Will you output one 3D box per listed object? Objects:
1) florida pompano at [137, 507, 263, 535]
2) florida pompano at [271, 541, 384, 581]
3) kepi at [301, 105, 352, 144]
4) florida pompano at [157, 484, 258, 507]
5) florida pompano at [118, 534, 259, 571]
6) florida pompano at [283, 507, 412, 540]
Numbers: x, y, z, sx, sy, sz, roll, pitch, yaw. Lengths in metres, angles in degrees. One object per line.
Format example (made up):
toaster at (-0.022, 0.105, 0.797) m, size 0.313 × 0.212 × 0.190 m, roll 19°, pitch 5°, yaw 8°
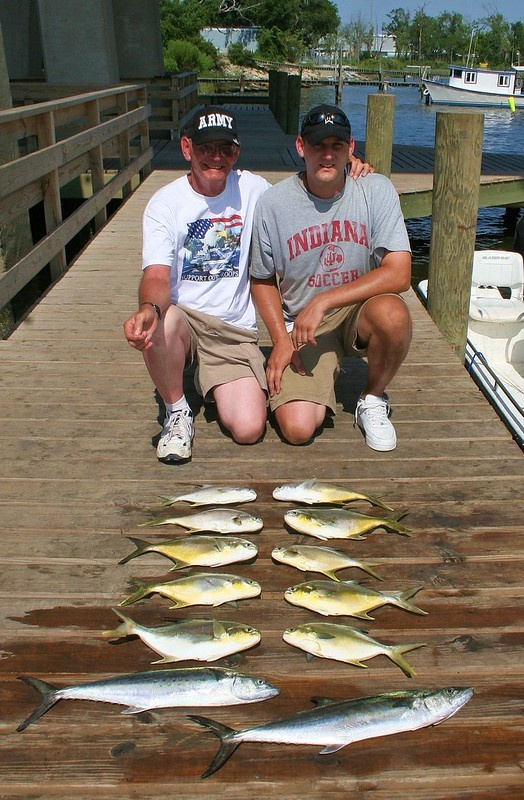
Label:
florida pompano at (-0.204, 0.404, 2.535) m, size 0.413 × 0.072 × 0.098 m, roll 3°, pitch 23°, yaw 6°
florida pompano at (0.191, 0.502, 2.304) m, size 0.342 × 0.072 × 0.131 m, roll 10°, pitch 24°, yaw 22°
kepi at (0.241, -1.048, 2.899) m, size 0.160 × 0.108 × 0.200 m, roll 0°, pitch 40°, yaw -1°
florida pompano at (-0.187, 0.340, 2.663) m, size 0.324 × 0.070 × 0.078 m, roll 1°, pitch 23°, yaw 0°
florida pompano at (-0.233, 0.478, 2.342) m, size 0.424 × 0.072 × 0.131 m, roll 2°, pitch 22°, yaw 4°
florida pompano at (0.281, 0.414, 2.503) m, size 0.412 × 0.088 × 0.118 m, roll 0°, pitch 23°, yaw -1°
